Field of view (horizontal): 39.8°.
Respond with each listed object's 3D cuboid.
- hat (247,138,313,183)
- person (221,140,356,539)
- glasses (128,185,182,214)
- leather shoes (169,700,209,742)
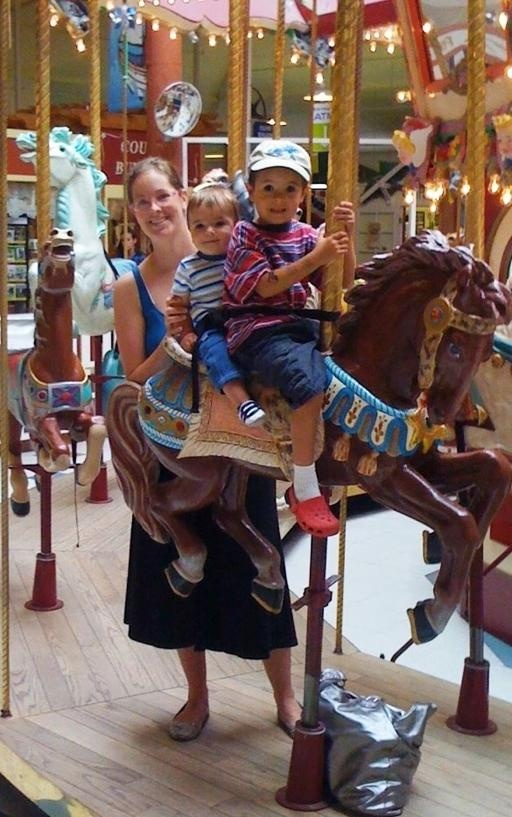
[{"bbox_3d":[0.050,-0.559,1.560,0.135,0.106,0.198,1,0,0],"label":"hat"},{"bbox_3d":[0.059,-0.165,1.583,0.265,0.853,0.355,1,0,-3],"label":"person"},{"bbox_3d":[-0.291,-0.597,2.073,0.097,0.079,0.126,-1,11,-1],"label":"glasses"},{"bbox_3d":[-0.204,0.935,2.136,0.116,0.103,0.170,1,0,-1],"label":"leather shoes"}]
